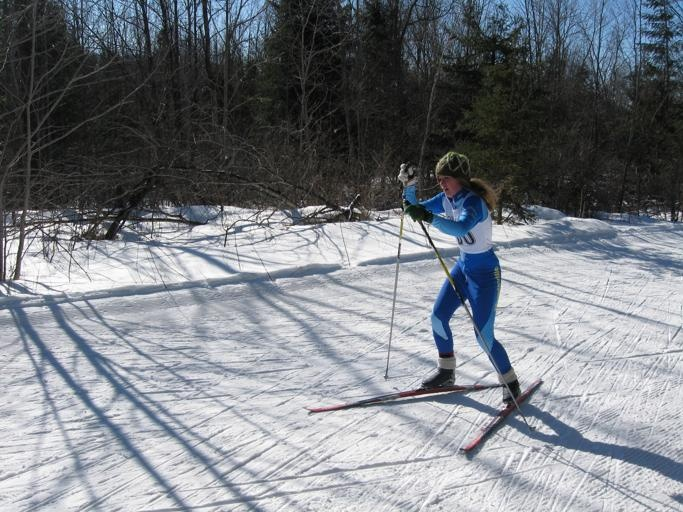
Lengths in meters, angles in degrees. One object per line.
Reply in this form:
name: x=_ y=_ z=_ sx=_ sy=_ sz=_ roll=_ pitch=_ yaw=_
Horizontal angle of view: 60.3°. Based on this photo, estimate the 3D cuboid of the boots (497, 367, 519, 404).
boots: x=1.796 y=1.373 z=6.281 sx=0.181 sy=0.359 sz=0.274 roll=6 pitch=9 yaw=28

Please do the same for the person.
person: x=1.243 y=0.201 z=6.362 sx=0.910 sy=2.616 sz=1.334 roll=-4 pitch=10 yaw=-38

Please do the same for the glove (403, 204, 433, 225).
glove: x=0.819 y=-0.444 z=6.223 sx=0.274 sy=0.153 sz=0.080 roll=24 pitch=-17 yaw=19

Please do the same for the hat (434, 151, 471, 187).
hat: x=1.190 y=-0.959 z=6.332 sx=0.368 sy=0.336 sz=0.310 roll=2 pitch=26 yaw=-12
